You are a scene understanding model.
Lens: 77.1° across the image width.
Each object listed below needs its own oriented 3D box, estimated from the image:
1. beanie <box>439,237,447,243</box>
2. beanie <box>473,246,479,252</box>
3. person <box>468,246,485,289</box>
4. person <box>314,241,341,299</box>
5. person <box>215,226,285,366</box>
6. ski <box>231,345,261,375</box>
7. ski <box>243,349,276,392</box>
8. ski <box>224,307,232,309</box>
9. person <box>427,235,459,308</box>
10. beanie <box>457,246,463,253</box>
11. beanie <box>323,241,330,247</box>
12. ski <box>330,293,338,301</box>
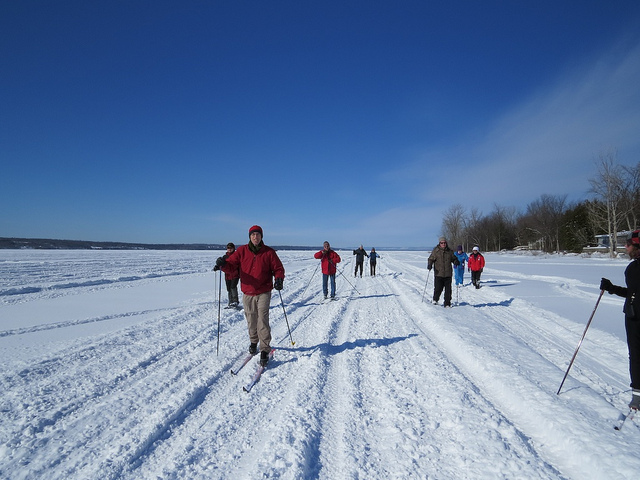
[{"bbox_3d":[3.194,-0.053,10.446,0.217,0.185,0.240,0,-8,4],"label":"beanie"},{"bbox_3d":[5.726,0.288,14.690,0.221,0.200,0.243,2,-3,-11],"label":"beanie"},{"bbox_3d":[5.763,0.915,14.842,0.449,1.546,1.048,5,14,20],"label":"person"},{"bbox_3d":[0.267,1.183,14.052,1.065,2.554,0.875,-2,-25,3],"label":"person"},{"bbox_3d":[-1.128,0.862,7.189,1.100,2.233,0.908,9,15,35],"label":"person"},{"bbox_3d":[-1.229,2.082,6.947,0.123,0.143,1.010,0,11,18],"label":"ski"},{"bbox_3d":[-0.954,2.096,6.536,0.104,0.165,1.036,18,13,10],"label":"ski"},{"bbox_3d":[-2.430,1.787,10.647,0.152,0.027,0.155,-1,14,-5],"label":"ski"},{"bbox_3d":[3.271,0.842,10.792,0.667,2.008,0.910,5,13,19],"label":"person"},{"bbox_3d":[5.433,0.348,15.599,0.167,0.245,0.231,5,14,-2],"label":"beanie"},{"bbox_3d":[0.148,0.077,8.701,0.091,0.105,0.097,1,-8,-6],"label":"beanie"},{"bbox_3d":[0.410,1.699,12.063,0.147,0.170,0.048,-20,31,-6],"label":"ski"}]
